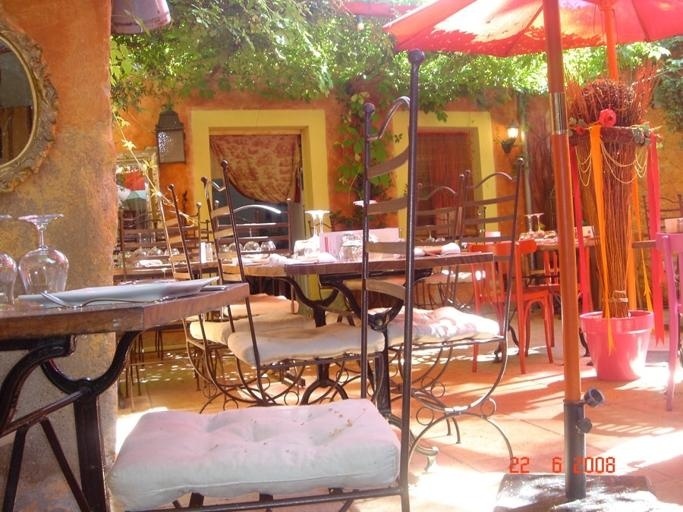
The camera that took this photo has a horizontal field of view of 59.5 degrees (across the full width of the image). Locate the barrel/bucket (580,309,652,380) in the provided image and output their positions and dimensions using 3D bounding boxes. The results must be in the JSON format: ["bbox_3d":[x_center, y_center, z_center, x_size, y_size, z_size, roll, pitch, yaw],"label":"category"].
[{"bbox_3d":[1.727,0.561,3.880,0.425,0.394,0.444,-1,-8,0],"label":"barrel/bucket"}]

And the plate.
[{"bbox_3d":[-0.546,0.091,1.452,0.269,0.041,0.185,-4,-12,-25],"label":"plate"}]

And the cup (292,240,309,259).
[{"bbox_3d":[-0.200,-0.028,2.951,0.082,0.100,0.106,-1,0,-17],"label":"cup"}]

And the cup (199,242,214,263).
[{"bbox_3d":[-0.961,-0.020,4.209,0.088,0.166,0.169,-2,-2,-2],"label":"cup"}]
